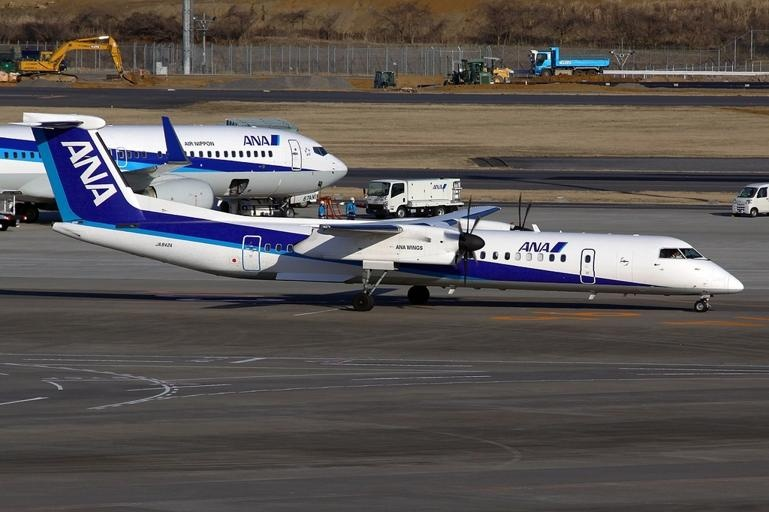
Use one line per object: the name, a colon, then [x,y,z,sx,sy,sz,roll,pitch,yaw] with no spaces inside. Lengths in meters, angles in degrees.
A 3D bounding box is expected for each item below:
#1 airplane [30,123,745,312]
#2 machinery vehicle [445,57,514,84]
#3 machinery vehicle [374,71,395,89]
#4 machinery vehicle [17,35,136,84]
airplane: [-1.332,-2.244,93.304,42.456,10.833,2.546,4,17,1]
machinery vehicle: [13.435,-26.339,207.974,8.284,3.444,10.021,0,3,4]
machinery vehicle: [0.223,-23.982,199.532,2.438,2.165,3.322,4,12,-9]
machinery vehicle: [-41.561,-27.152,200.720,20.973,5.480,3.360,6,13,36]
